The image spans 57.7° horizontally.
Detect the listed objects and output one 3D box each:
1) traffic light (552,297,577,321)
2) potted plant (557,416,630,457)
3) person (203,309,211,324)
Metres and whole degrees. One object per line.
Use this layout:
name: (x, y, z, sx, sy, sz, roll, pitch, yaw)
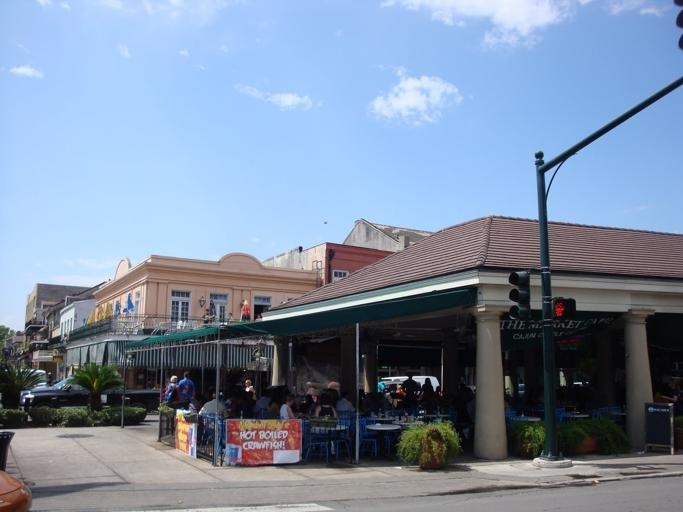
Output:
traffic light: (5.569, 1.312, 15.631, 0.527, 0.510, 0.256, -6, -15, 20)
potted plant: (6.891, 5.064, 17.336, 1.248, 0.612, 1.310, 1, -10, -12)
person: (-8.672, 3.911, 39.840, 0.440, 1.184, 1.814, 4, -16, -14)
